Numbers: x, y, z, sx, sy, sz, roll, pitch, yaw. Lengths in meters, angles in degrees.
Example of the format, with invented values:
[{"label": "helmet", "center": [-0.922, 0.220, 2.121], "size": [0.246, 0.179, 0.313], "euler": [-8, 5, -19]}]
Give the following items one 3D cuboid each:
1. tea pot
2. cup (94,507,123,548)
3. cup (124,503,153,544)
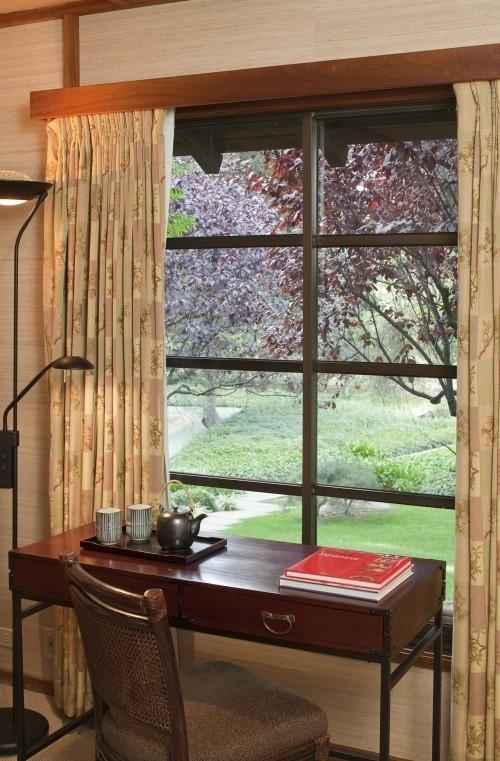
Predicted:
[{"label": "tea pot", "center": [-0.235, 0.401, 2.016], "size": [0.232, 0.236, 0.136], "euler": [-2, -3, 21]}, {"label": "cup", "center": [-0.414, 0.427, 2.001], "size": [0.077, 0.098, 0.101], "euler": [-1, -6, 3]}, {"label": "cup", "center": [-0.329, 0.419, 1.978], "size": [0.102, 0.109, 0.095], "euler": [0, 1, 0]}]
